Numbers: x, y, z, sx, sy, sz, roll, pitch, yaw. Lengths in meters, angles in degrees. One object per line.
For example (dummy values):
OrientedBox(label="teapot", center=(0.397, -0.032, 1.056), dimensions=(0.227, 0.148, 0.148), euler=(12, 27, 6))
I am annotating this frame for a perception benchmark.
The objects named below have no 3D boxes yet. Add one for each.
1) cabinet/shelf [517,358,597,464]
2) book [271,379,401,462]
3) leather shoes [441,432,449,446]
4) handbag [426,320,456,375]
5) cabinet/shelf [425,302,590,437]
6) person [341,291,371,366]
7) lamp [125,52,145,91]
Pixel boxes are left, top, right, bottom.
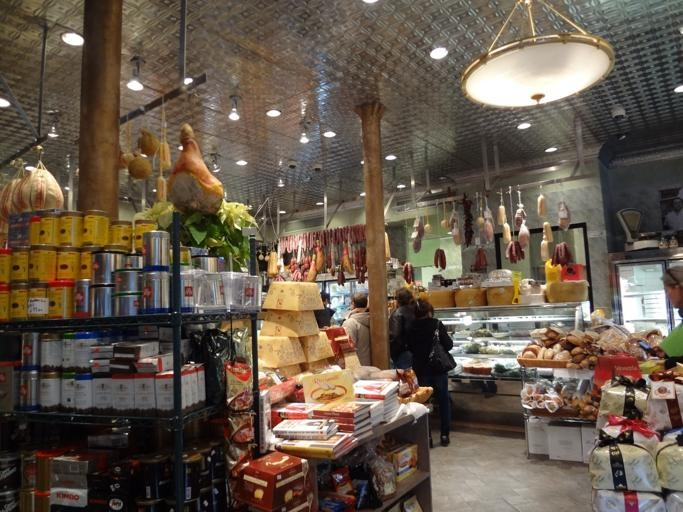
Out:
OrientedBox(label="cabinet/shelf", center=(2.409, 1.737, 5.892), dimensions=(0.755, 0.941, 0.729), euler=(-5, -7, 18))
OrientedBox(label="book", center=(-0.036, 1.128, 3.761), dimensions=(0.546, 0.355, 0.918), euler=(-7, -7, 34))
OrientedBox(label="leather shoes", center=(1.223, 2.158, 6.319), dimensions=(0.110, 0.094, 0.247), euler=(-1, -15, 6))
OrientedBox(label="handbag", center=(1.224, 1.105, 6.528), dimensions=(0.351, 0.636, 0.142), euler=(2, -9, -38))
OrientedBox(label="cabinet/shelf", center=(2.011, 1.376, 6.385), dimensions=(1.678, 1.337, 0.643), euler=(-6, -13, 34))
OrientedBox(label="person", center=(0.200, 0.888, 6.569), dimensions=(0.327, 0.884, 0.770), euler=(-3, -6, 0))
OrientedBox(label="lamp", center=(-2.181, -1.943, 5.710), dimensions=(0.289, 0.382, 0.268), euler=(1, -1, -19))
